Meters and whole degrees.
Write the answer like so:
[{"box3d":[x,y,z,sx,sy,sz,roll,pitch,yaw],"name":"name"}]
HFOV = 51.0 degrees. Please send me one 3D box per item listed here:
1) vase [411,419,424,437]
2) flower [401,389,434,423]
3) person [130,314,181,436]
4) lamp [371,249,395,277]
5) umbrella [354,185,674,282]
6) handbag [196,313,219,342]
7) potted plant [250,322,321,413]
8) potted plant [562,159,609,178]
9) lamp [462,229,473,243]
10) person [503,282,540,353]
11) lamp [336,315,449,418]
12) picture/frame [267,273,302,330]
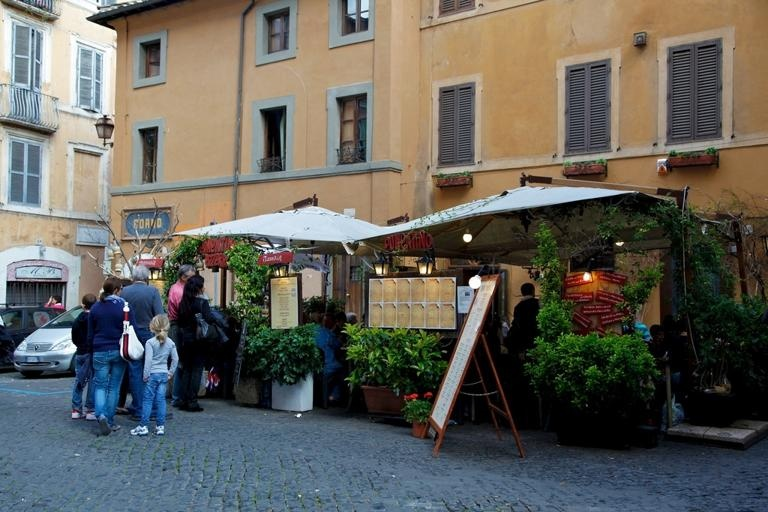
[{"box3d":[0.523,2.709,12.615,0.203,0.173,0.217,2,-12,-2],"name":"vase"},{"box3d":[0.521,2.379,12.689,0.465,0.354,0.444,1,-5,-5],"name":"flower"},{"box3d":[-3.551,1.832,12.312,0.691,1.788,0.421,-1,6,-18],"name":"person"},{"box3d":[-0.039,0.125,15.438,0.402,0.615,0.425,-1,-1,14],"name":"lamp"},{"box3d":[1.936,-0.377,13.879,3.834,1.686,4.735,-2,7,-26],"name":"umbrella"},{"box3d":[-3.100,1.237,13.829,0.406,0.471,0.176,3,6,20],"name":"handbag"},{"box3d":[-1.768,1.882,14.822,1.688,1.934,1.358,-1,-4,14],"name":"potted plant"},{"box3d":[4.400,-1.908,17.801,1.075,0.348,0.367,3,9,30],"name":"potted plant"},{"box3d":[1.511,-0.352,14.625,0.188,0.275,0.194,2,-16,-4],"name":"lamp"},{"box3d":[2.408,1.214,13.778,0.427,0.956,0.689,-3,7,-33],"name":"person"},{"box3d":[-0.033,1.966,13.728,1.472,1.492,2.009,1,-9,44],"name":"lamp"},{"box3d":[-1.812,0.834,14.611,0.761,1.018,0.252,5,7,37],"name":"picture/frame"}]
